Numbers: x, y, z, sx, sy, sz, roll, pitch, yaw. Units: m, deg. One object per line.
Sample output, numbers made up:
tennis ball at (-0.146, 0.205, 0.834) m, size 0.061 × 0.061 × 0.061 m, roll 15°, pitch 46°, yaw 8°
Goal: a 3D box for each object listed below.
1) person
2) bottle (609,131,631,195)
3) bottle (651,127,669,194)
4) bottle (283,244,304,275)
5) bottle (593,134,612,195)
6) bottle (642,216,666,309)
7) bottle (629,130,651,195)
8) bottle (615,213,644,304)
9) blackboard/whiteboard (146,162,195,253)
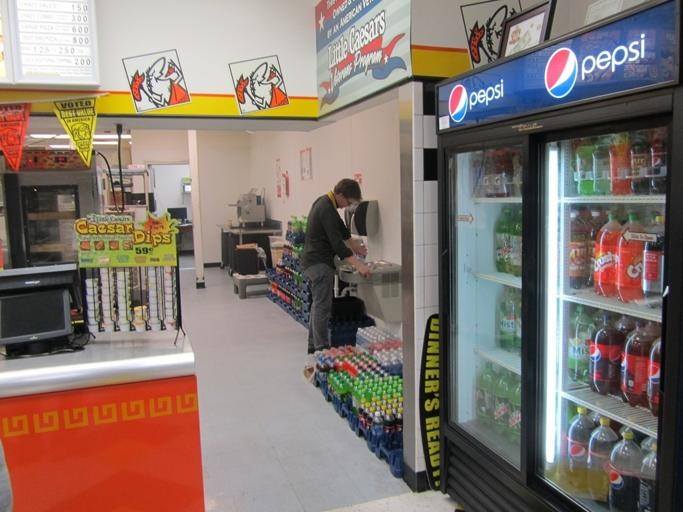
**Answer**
person at (-0.116, 0.167, 5.683) m, size 0.675 × 2.025 × 0.878 m, roll -1°, pitch 8°, yaw 0°
bottle at (1.358, -0.444, 2.433) m, size 0.109 × 0.287 × 0.059 m, roll 6°, pitch 11°, yaw 37°
bottle at (1.436, -0.425, 2.262) m, size 0.032 × 0.290 × 0.087 m, roll -2°, pitch 8°, yaw -8°
bottle at (-0.742, 0.046, 7.486) m, size 0.162 × 0.444 × 1.038 m, roll -3°, pitch 10°, yaw -18°
bottle at (1.312, -0.448, 2.517) m, size 0.018 × 0.277 × 0.090 m, roll -6°, pitch 10°, yaw -32°
bottle at (1.464, 0.022, 2.350) m, size 0.083 × 0.410 × 0.243 m, roll 4°, pitch 10°, yaw 31°
bottle at (1.407, -0.432, 2.352) m, size 0.047 × 0.284 × 0.109 m, roll -8°, pitch 11°, yaw -40°
bottle at (1.417, 0.012, 2.446) m, size 0.102 × 0.420 × 0.130 m, roll 0°, pitch 8°, yaw 2°
blackboard/whiteboard at (-4.997, -1.287, 14.905) m, size 0.967 × 2.759 × 2.165 m, roll 0°, pitch 9°, yaw 4°
